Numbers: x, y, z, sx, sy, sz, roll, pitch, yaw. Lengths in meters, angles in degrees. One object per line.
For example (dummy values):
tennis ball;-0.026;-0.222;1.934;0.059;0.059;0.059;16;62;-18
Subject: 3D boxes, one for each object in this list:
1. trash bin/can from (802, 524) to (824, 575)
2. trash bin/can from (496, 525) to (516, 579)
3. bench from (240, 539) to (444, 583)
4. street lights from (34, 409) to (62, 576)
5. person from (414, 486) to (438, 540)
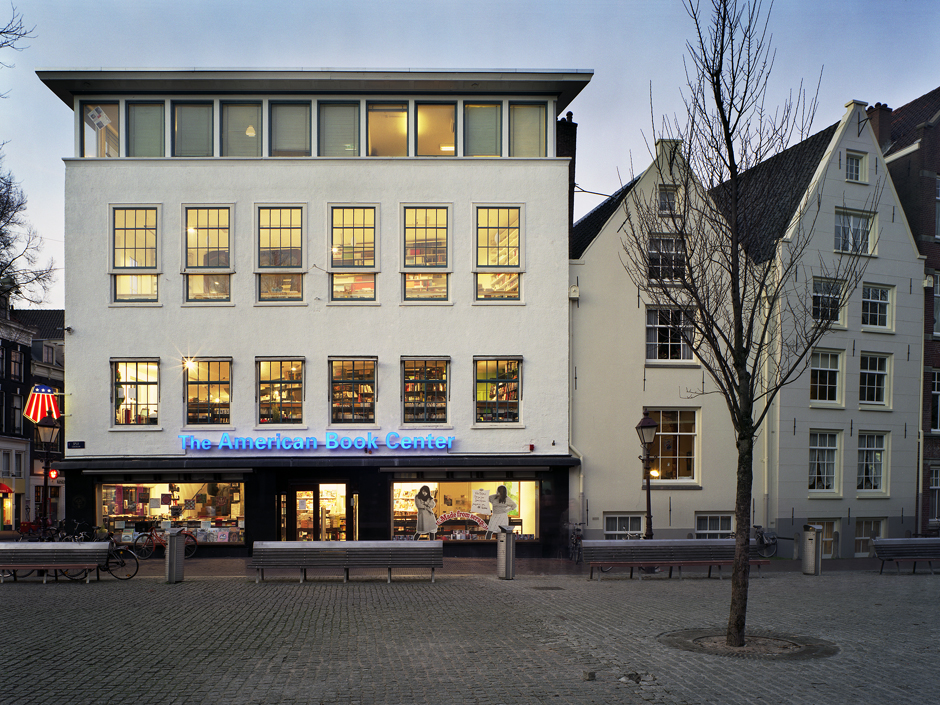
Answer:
trash bin/can;10.643;6.073;43.373;0.513;1.491;0.855;2;9;9
trash bin/can;1.124;5.926;41.923;0.475;1.476;0.721;0;9;-3
bench;-3.483;5.990;40.191;5.199;1.234;0.580;0;9;-5
street lights;-12.996;4.295;43.414;0.738;5.410;0.952;3;-5;-33
person;-1.422;5.265;46.835;0.719;1.674;0.507;-1;9;-5
